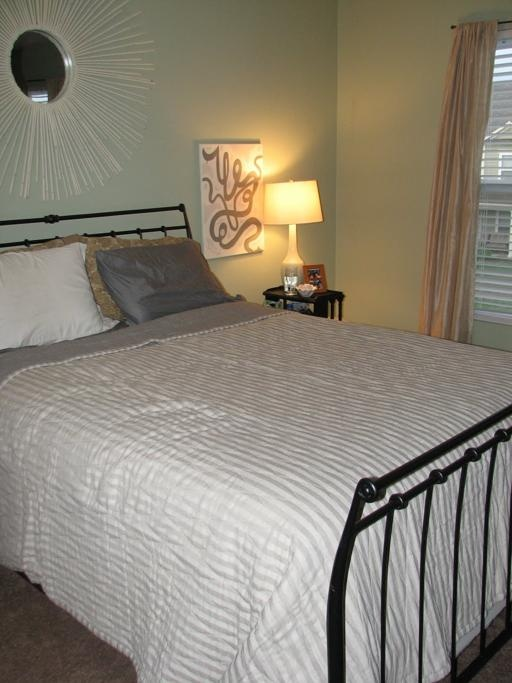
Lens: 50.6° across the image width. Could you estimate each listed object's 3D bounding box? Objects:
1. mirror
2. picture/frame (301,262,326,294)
[{"bbox_3d":[-0.946,-1.203,2.384,0.036,0.297,0.290,8,17,30],"label":"mirror"},{"bbox_3d":[0.377,-0.404,3.516,0.242,0.222,0.017,5,-12,-33],"label":"picture/frame"}]
